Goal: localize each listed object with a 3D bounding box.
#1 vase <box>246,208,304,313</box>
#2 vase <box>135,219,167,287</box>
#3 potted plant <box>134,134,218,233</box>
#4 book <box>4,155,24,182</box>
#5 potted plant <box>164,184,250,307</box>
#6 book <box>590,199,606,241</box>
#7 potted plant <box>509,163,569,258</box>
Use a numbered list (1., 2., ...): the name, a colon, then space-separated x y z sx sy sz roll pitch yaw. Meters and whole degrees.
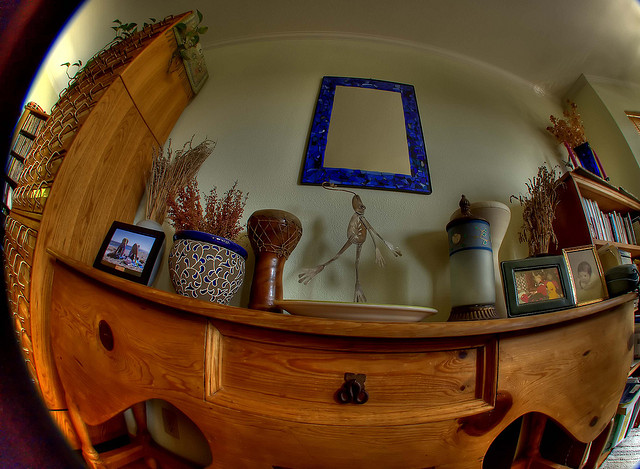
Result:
1. vase: -0.134 0.070 1.184 0.170 0.313 0.076 5 -10 -7
2. vase: -0.494 0.056 1.197 0.108 0.201 0.086 -4 -13 36
3. potted plant: -0.489 -0.105 1.290 0.170 0.386 0.098 13 -30 -12
4. book: -0.630 -0.137 0.834 0.006 0.044 0.065 6 -11 -14
5. potted plant: -0.336 0.014 1.183 0.264 0.368 0.194 4 -10 -4
6. book: 0.881 -0.047 1.302 0.027 0.131 0.042 -7 -14 11
7. potted plant: 0.695 -0.079 1.253 0.187 0.318 0.070 7 -11 -19
